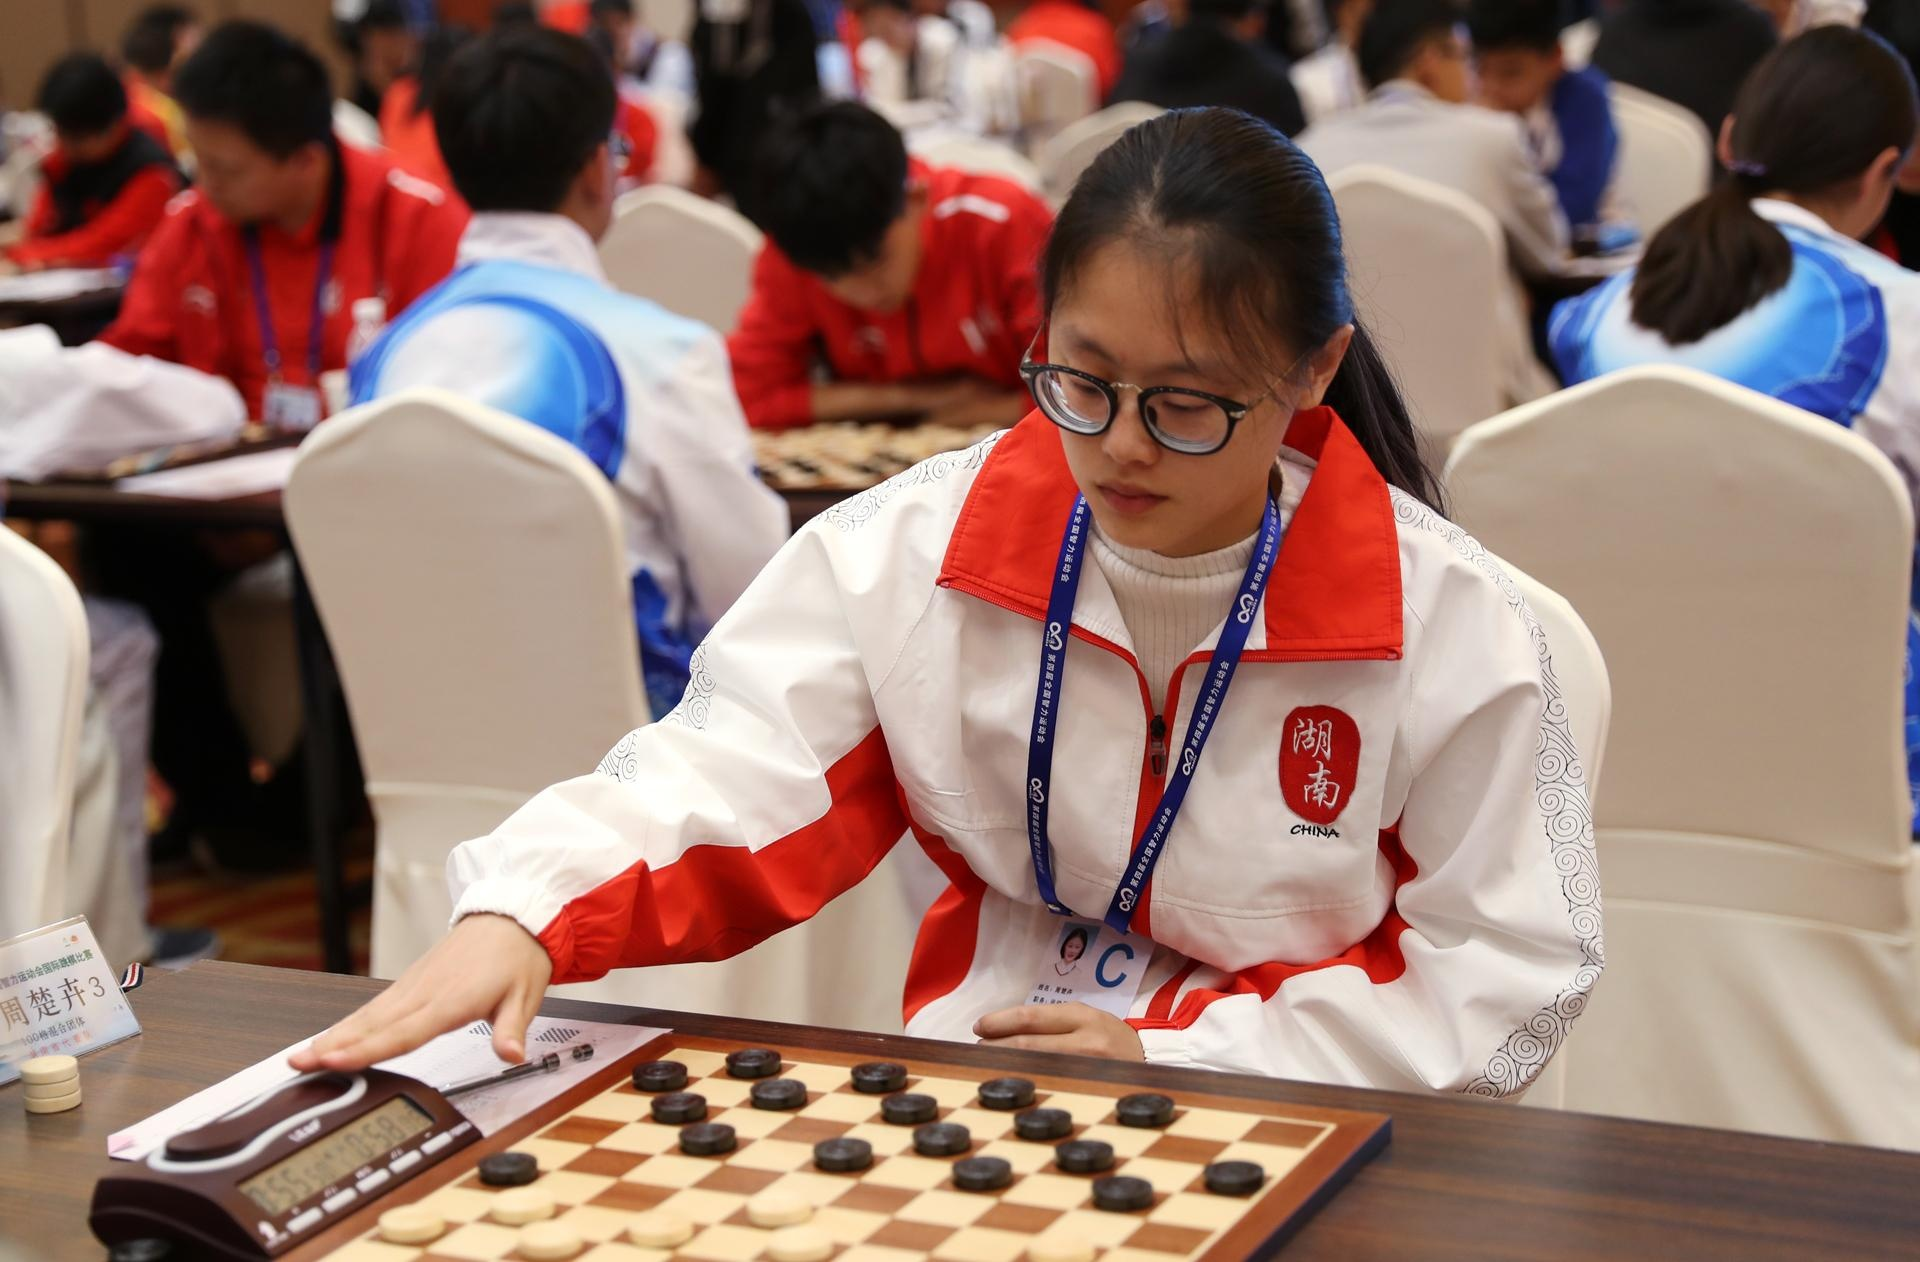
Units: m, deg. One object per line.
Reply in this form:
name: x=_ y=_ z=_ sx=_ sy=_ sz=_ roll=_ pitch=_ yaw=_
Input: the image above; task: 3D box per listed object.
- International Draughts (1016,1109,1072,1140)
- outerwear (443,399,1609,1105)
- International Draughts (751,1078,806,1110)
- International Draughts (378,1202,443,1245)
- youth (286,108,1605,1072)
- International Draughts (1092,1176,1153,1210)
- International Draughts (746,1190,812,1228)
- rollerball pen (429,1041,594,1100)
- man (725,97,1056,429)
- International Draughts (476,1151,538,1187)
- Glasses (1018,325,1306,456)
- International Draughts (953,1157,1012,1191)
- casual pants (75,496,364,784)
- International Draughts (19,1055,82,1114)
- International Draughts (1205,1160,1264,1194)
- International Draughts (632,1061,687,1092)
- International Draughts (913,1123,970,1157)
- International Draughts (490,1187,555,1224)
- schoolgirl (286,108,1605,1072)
International Draughts: x=0.065 y=0.380 z=1.218 sx=0.025 sy=0.006 sz=0.025 roll=-4 pitch=11 yaw=-7
outerwear: x=0.093 y=0.152 z=1.653 sx=1.086 sy=0.701 sz=0.759 roll=3 pitch=21 yaw=8
International Draughts: x=-0.148 y=0.368 z=1.268 sx=0.026 sy=0.007 sz=0.027 roll=-2 pitch=14 yaw=-7
International Draughts: x=-0.395 y=0.423 z=1.134 sx=0.027 sy=0.007 sz=0.027 roll=-3 pitch=11 yaw=-19
youth: x=0.060 y=0.016 z=1.473 sx=1.026 sy=0.934 sz=0.531 roll=-6 pitch=22 yaw=-16
International Draughts: x=0.119 y=0.406 z=1.151 sx=0.045 sy=0.015 sz=0.033 roll=2 pitch=21 yaw=3
International Draughts: x=-0.132 y=0.412 z=1.140 sx=0.027 sy=0.007 sz=0.027 roll=-5 pitch=10 yaw=-22
rollerball pen: x=-0.372 y=0.367 z=1.313 sx=0.097 sy=0.016 sz=0.014 roll=-17 pitch=57 yaw=-14
man: x=-0.164 y=-0.813 z=3.473 sx=0.730 sy=0.782 sz=0.652 roll=-2 pitch=37 yaw=7
International Draughts: x=-0.337 y=0.403 z=1.184 sx=0.027 sy=0.008 sz=0.027 roll=-2 pitch=12 yaw=-5
Glasses: x=0.151 y=-0.204 z=1.444 sx=0.218 sy=0.074 sz=0.071 roll=9 pitch=23 yaw=21
International Draughts: x=0.018 y=0.400 z=1.172 sx=0.045 sy=0.014 sz=0.029 roll=0 pitch=21 yaw=-3
casual pants: x=-1.355 y=-0.002 z=3.065 sx=0.578 sy=0.567 sz=0.591 roll=0 pitch=9 yaw=7
International Draughts: x=-0.738 y=0.369 z=1.284 sx=0.043 sy=0.034 sz=0.043 roll=-1 pitch=5 yaw=-13
International Draughts: x=0.201 y=0.398 z=1.153 sx=0.044 sy=0.014 sz=0.029 roll=5 pitch=21 yaw=11
International Draughts: x=-0.250 y=0.360 z=1.296 sx=0.026 sy=0.007 sz=0.026 roll=-8 pitch=16 yaw=-29
International Draughts: x=-0.013 y=0.387 z=1.205 sx=0.025 sy=0.006 sz=0.025 roll=-5 pitch=15 yaw=-14
International Draughts: x=-0.317 y=0.415 z=1.148 sx=0.025 sy=0.006 sz=0.026 roll=1 pitch=9 yaw=12
schoolgirl: x=0.060 y=0.016 z=1.474 sx=1.024 sy=0.934 sz=0.531 roll=-6 pitch=22 yaw=-16
